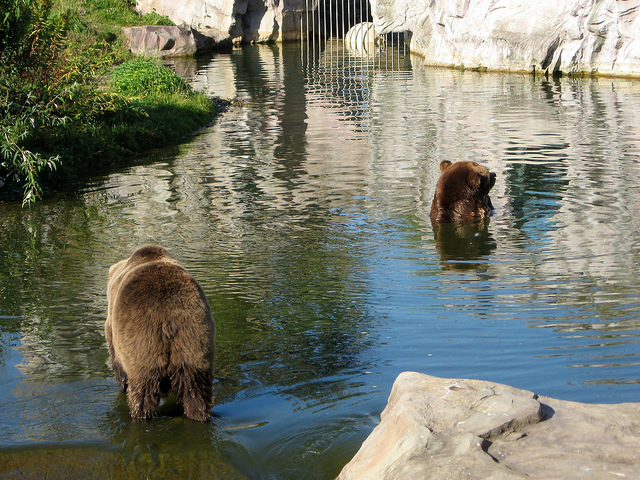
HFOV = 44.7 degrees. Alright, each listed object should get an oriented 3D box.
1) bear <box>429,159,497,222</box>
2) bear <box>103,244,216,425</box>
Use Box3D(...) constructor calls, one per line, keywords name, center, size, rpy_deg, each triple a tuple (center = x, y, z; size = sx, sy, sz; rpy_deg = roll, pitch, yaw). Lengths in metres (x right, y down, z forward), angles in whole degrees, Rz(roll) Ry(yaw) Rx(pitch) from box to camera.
Box3D(name="bear", center=(2.437, -0.842, 13.669), size=(1.004, 1.059, 0.466), rpy_deg=(-2, 4, 6))
Box3D(name="bear", center=(-1.747, 1.007, 8.435), size=(1.102, 1.876, 0.909), rpy_deg=(-4, 4, -14))
